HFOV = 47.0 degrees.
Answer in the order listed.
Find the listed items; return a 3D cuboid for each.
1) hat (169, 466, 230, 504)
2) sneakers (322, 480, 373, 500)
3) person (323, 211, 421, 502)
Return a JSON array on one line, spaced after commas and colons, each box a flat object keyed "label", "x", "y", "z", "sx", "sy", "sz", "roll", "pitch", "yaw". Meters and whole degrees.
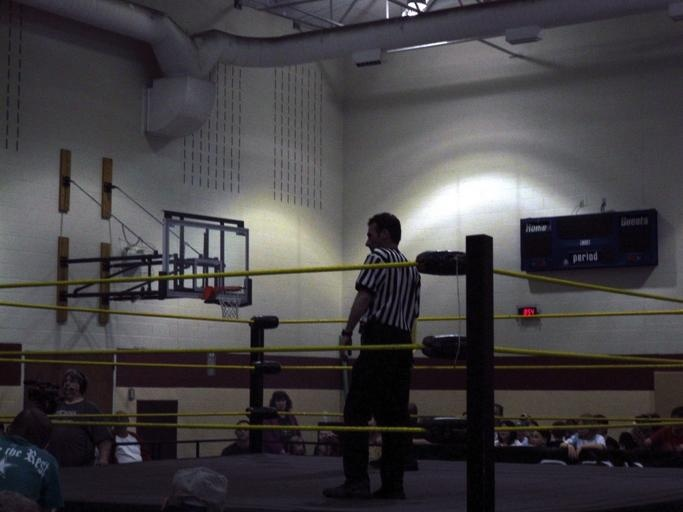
[{"label": "hat", "x": -0.800, "y": 1.314, "z": 4.497, "sx": 0.332, "sy": 0.157, "sz": 0.201, "roll": 0, "pitch": -3, "yaw": 18}, {"label": "sneakers", "x": 0.035, "y": 1.410, "z": 4.711, "sx": 0.299, "sy": 0.109, "sz": 0.109, "roll": 3, "pitch": -20, "yaw": 3}, {"label": "person", "x": 0.214, "y": 0.593, "z": 4.803, "sx": 0.589, "sy": 1.763, "sz": 0.505, "roll": 2, "pitch": -3, "yaw": -7}]
